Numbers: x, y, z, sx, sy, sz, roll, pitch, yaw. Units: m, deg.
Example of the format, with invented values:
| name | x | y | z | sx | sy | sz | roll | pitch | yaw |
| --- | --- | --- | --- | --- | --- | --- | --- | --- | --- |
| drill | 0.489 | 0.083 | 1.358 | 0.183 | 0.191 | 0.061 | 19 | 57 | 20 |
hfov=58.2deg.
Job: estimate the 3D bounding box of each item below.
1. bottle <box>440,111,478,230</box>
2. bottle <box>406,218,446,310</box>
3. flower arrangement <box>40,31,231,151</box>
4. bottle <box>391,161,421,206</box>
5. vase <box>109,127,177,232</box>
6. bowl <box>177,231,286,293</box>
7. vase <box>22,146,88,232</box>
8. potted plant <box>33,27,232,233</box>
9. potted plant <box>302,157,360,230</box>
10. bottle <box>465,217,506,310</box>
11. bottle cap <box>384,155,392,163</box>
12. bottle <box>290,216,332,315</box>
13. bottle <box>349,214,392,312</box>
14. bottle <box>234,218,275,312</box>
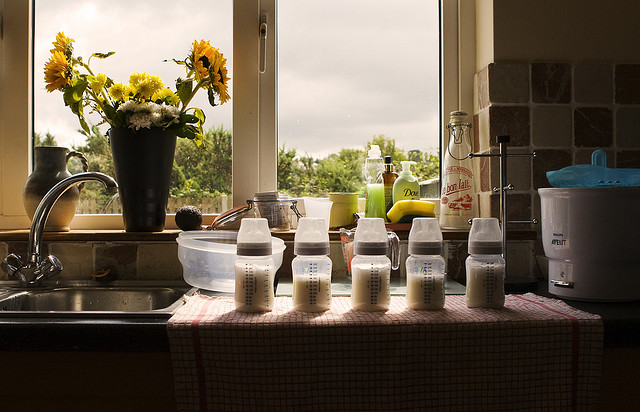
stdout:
| name | x | y | z | sx | sy | sz | roll | pitch | yaw |
| --- | --- | --- | --- | --- | --- | --- | --- | --- | --- |
| bottle | 0.560 | -0.146 | 2.348 | 0.138 | 0.479 | 0.064 | 0 | 2 | 13 |
| bottle | 0.360 | 0.184 | 1.854 | 0.154 | 0.292 | 0.077 | -1 | 2 | -26 |
| flower arrangement | -0.726 | -0.475 | 2.344 | 0.704 | 0.435 | 0.244 | 0 | 2 | 3 |
| bottle | 0.351 | -0.098 | 2.388 | 0.119 | 0.176 | 0.077 | 0 | 2 | 16 |
| vase | -0.681 | -0.117 | 2.501 | 0.382 | 0.516 | 0.368 | 3 | -1 | -15 |
| bowl | -0.358 | 0.262 | 2.230 | 0.405 | 0.185 | 0.398 | -7 | -10 | -1 |
| vase | -1.118 | -0.074 | 2.422 | 0.291 | 0.333 | 0.245 | -2 | 7 | -37 |
| potted plant | -0.742 | -0.340 | 2.356 | 0.779 | 0.744 | 0.283 | 2 | 2 | -16 |
| potted plant | 0.044 | -0.060 | 2.466 | 0.253 | 0.311 | 0.206 | 0 | 2 | 2 |
| bottle | 0.529 | 0.186 | 1.908 | 0.135 | 0.284 | 0.122 | 2 | 4 | 1 |
| bottle cap | 0.296 | -0.206 | 2.496 | 0.027 | 0.027 | 0.026 | 1 | 1 | -9 |
| bottle | -0.029 | 0.187 | 1.868 | 0.127 | 0.300 | 0.141 | -1 | 2 | -3 |
| bottle | 0.167 | 0.186 | 1.881 | 0.135 | 0.296 | 0.158 | 0 | 2 | 6 |
| bottle | -0.207 | 0.187 | 1.861 | 0.120 | 0.289 | 0.138 | 1 | 5 | -1 |
